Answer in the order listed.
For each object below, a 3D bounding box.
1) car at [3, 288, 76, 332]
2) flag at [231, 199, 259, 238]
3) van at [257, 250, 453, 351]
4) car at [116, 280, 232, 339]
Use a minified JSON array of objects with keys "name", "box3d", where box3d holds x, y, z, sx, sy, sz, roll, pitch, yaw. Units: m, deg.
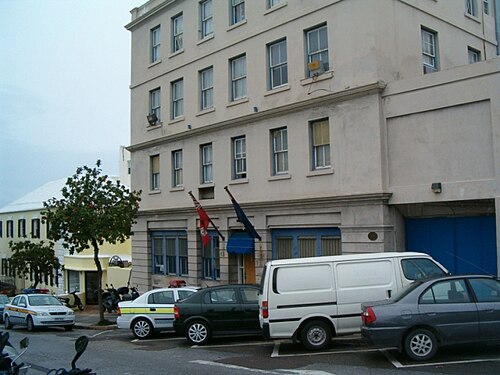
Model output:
[{"name":"car","box3d":[-10.702,6.099,29.474,1.720,1.366,3.736,6,-15,-34]},{"name":"flag","box3d":[-0.191,1.524,28.028,1.170,2.194,0.662,-10,5,-20]},{"name":"van","box3d":[3.168,3.780,20.860,5.535,2.592,3.113,-4,-2,-1]},{"name":"car","box3d":[-3.699,5.154,24.894,3.627,1.670,1.820,-3,-3,-3]}]
